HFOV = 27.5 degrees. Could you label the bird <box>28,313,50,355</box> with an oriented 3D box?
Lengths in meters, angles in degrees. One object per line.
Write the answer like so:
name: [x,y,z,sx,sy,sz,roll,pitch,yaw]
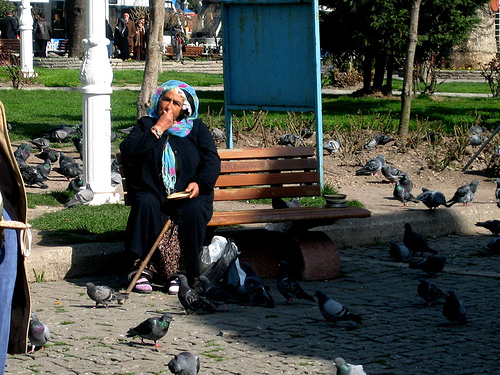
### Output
bird: [-2.226,1.531,10.751,0.252,0.391,0.214,-5,9,-30]

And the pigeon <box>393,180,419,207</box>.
pigeon: [2.347,0.096,15.302,0.372,0.327,0.414,1,8,9]

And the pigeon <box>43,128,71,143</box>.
pigeon: [-3.554,-0.962,18.754,0.316,0.259,0.488,6,10,39]

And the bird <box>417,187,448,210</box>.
bird: [2.638,0.145,14.834,0.220,0.237,0.393,5,-12,-23]

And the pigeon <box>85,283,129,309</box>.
pigeon: [-1.631,1.216,11.693,0.469,0.320,0.262,-3,8,-18]

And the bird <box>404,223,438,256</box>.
bird: [2.192,0.674,13.516,0.350,0.351,0.538,3,9,0]

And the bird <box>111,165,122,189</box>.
bird: [-2.004,-0.143,15.244,0.108,0.128,0.322,5,22,-11]

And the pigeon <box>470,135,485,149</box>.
pigeon: [4.109,-0.846,18.477,0.233,0.237,0.510,1,8,13]

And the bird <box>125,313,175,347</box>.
bird: [-1.067,1.491,10.952,0.499,0.434,0.257,8,8,16]

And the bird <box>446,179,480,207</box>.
bird: [3.190,0.073,15.301,0.645,0.424,0.241,-1,4,-24]

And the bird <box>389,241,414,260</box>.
bird: [1.998,0.819,13.423,0.255,0.190,0.179,1,-11,-29]

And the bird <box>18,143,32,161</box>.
bird: [-3.782,-0.620,17.155,0.196,0.333,0.163,-3,-1,37]

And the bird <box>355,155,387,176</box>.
bird: [2.027,-0.370,16.909,0.432,0.293,0.233,0,4,0]

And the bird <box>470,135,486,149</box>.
bird: [4.095,-0.827,18.362,0.140,0.192,0.259,31,-3,25]

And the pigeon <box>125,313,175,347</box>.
pigeon: [-1.088,1.491,10.969,0.552,0.429,0.264,8,2,24]

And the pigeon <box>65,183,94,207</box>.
pigeon: [-2.370,0.116,14.354,0.381,0.287,0.202,-17,21,-25]

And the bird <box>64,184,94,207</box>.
bird: [-2.380,0.118,14.359,0.389,0.287,0.203,-17,24,-28]

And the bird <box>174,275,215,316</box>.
bird: [-0.551,1.245,11.706,0.607,0.509,0.247,10,-5,-1]

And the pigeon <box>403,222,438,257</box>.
pigeon: [2.265,0.680,13.540,0.479,0.419,0.274,5,11,11]

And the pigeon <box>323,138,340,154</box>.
pigeon: [1.482,-0.728,18.001,0.115,0.224,0.389,2,-7,40]

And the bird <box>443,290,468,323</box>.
bird: [2.337,1.340,11.586,0.275,0.353,0.305,1,8,12]

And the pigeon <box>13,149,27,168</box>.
pigeon: [-3.409,-0.428,15.099,0.123,0.366,0.260,-15,9,-12]

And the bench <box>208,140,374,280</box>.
bench: [0.487,0.231,13.520,1.867,1.545,2.517,-1,8,0]

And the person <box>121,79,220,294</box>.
person: [-0.969,-0.097,12.399,1.170,2.359,0.701,-1,8,-6]

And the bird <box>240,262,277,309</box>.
bird: [0.117,1.163,11.895,0.239,0.518,0.698,-3,8,-38]

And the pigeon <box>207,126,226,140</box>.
pigeon: [-0.601,-0.995,18.621,0.111,0.227,0.333,-35,29,-33]

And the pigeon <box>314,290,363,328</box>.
pigeon: [0.990,1.355,11.476,0.636,0.422,0.219,8,12,-13]

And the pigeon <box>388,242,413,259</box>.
pigeon: [1.972,0.811,13.374,0.245,0.182,0.172,-3,-13,-32]

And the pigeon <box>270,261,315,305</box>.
pigeon: [0.523,1.089,12.028,0.503,0.513,0.266,2,15,13]

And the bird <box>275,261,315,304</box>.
bird: [0.544,1.110,12.018,0.449,0.486,0.369,0,8,7]

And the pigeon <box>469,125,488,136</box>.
pigeon: [4.163,-1.049,18.704,0.195,0.173,0.312,7,7,42]

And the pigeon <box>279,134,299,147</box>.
pigeon: [0.681,-0.836,17.976,0.207,0.213,0.693,-5,9,-29]

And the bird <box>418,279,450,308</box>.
bird: [2.150,1.228,11.996,0.354,0.316,0.190,-2,8,-9]

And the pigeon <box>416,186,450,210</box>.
pigeon: [2.661,0.127,14.839,0.337,0.198,0.295,8,-13,-42]

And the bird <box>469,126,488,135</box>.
bird: [4.162,-1.038,18.664,0.168,0.149,0.266,21,11,41]

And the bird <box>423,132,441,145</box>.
bird: [3.468,-0.944,19.342,0.328,0.211,0.412,-2,8,-12]

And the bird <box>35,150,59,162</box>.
bird: [-3.418,-0.549,17.173,0.145,0.140,0.316,-16,28,-42]

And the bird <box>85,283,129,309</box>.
bird: [-1.650,1.194,11.630,0.477,0.307,0.180,-6,10,-3]

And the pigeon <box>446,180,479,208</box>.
pigeon: [3.158,0.078,15.200,0.480,0.441,0.227,1,15,19]

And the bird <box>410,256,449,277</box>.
bird: [2.241,0.924,12.775,0.416,0.275,0.199,20,15,-6]

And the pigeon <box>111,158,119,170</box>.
pigeon: [-2.096,-0.361,15.780,0.183,0.130,0.083,-1,-3,33]

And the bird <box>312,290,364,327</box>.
bird: [0.988,1.356,11.438,0.524,0.384,0.230,1,8,13]

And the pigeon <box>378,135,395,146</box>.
pigeon: [2.469,-0.864,18.589,0.255,0.201,0.407,1,8,8]

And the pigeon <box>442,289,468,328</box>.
pigeon: [2.345,1.340,11.617,0.242,0.430,0.401,-2,8,34]

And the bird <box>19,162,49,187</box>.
bird: [-3.412,-0.179,16.018,0.444,0.362,0.376,-5,9,-31]

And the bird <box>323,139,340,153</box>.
bird: [1.434,-0.716,18.083,0.278,0.247,0.457,0,8,6]
